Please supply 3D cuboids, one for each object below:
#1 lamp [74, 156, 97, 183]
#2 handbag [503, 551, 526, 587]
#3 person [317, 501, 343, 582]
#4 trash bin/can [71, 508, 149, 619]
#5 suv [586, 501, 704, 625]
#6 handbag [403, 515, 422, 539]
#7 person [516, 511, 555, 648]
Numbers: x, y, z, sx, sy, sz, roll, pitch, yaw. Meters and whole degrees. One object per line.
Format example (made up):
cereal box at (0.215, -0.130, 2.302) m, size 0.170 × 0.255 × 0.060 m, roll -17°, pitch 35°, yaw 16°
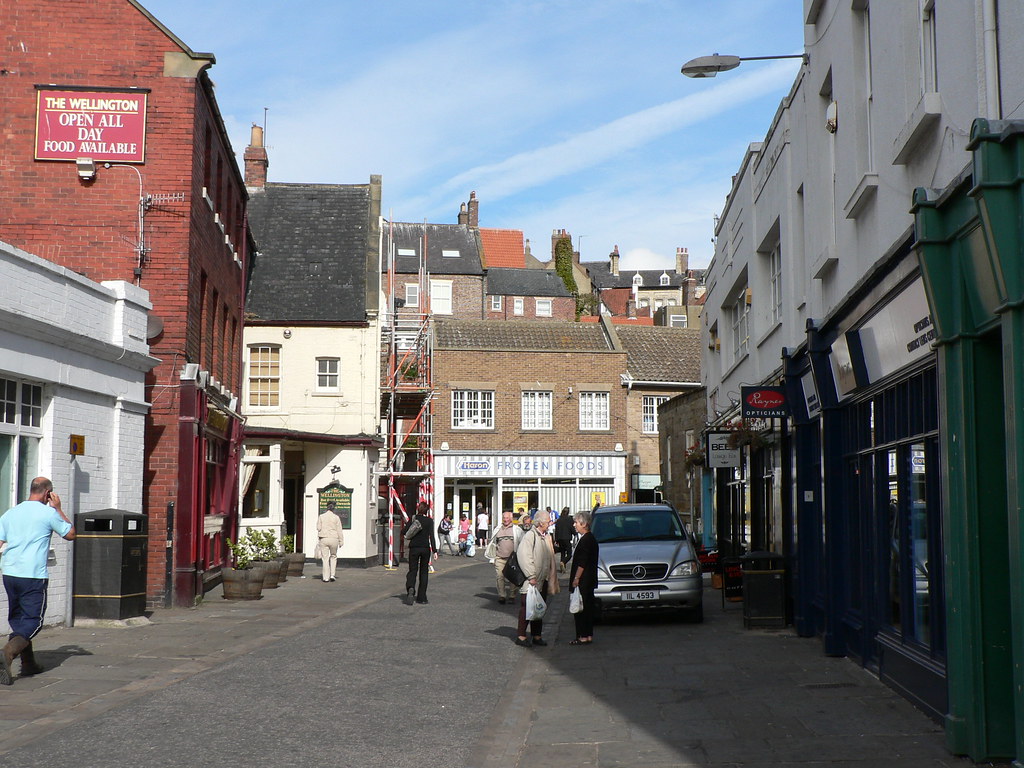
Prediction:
lamp at (-7.621, -3.844, 24.425) m, size 0.239 × 0.486 × 0.468 m, roll 1°, pitch 31°, yaw -6°
handbag at (0.027, 2.732, 19.860) m, size 0.294 × 0.495 × 0.661 m, roll 0°, pitch -1°, yaw -5°
person at (-4.204, 3.627, 31.323) m, size 0.511 × 1.617 × 1.643 m, roll 0°, pitch 0°, yaw -8°
trash bin/can at (-6.105, 2.752, 20.649) m, size 1.063 × 1.378 × 0.688 m, roll 0°, pitch 0°, yaw -23°
suv at (2.265, 3.064, 23.404) m, size 1.828 × 1.845 × 2.954 m, roll 0°, pitch -1°, yaw 3°
handbag at (-1.874, 2.735, 25.695) m, size 0.123 × 0.396 × 0.322 m, roll 22°, pitch -13°, yaw -22°
person at (0.354, 2.877, 20.194) m, size 0.591 × 1.850 × 1.550 m, roll 0°, pitch 0°, yaw 1°
